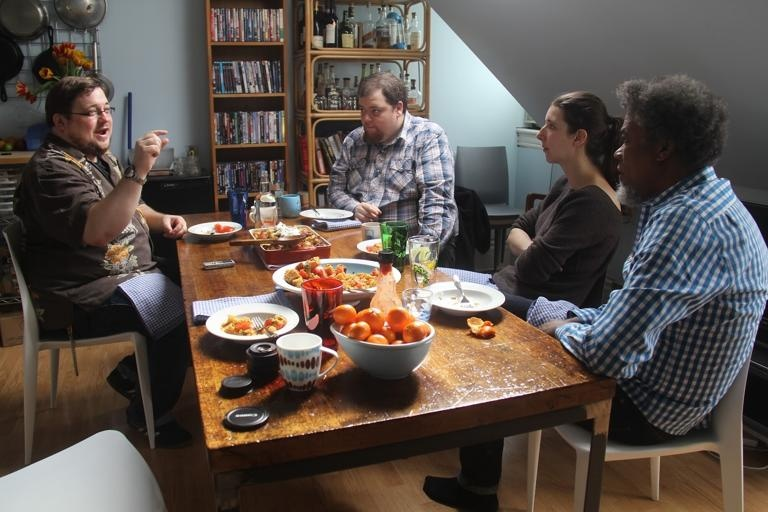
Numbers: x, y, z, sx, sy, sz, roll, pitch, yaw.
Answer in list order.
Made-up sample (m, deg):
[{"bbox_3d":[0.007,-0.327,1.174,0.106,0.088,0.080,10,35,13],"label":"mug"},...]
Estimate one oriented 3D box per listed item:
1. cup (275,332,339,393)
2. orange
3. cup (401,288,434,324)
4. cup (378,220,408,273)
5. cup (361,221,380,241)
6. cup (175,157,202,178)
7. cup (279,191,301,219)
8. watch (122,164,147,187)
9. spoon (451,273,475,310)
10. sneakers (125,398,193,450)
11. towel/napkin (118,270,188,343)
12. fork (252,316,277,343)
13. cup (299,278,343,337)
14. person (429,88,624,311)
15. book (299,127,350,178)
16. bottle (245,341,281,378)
[{"bbox_3d":[-0.236,0.296,1.629,0.191,0.139,0.151,-1,11,-2],"label":"cup"},{"bbox_3d":[-0.002,0.197,1.596,0.154,0.073,0.155,1,6,-10],"label":"orange"},{"bbox_3d":[0.108,0.153,1.789,0.092,0.103,0.105,-1,10,-7],"label":"cup"},{"bbox_3d":[0.045,-0.043,2.197,0.166,0.264,0.171,0,6,0],"label":"cup"},{"bbox_3d":[-0.057,-0.127,2.556,0.066,0.073,0.084,3,23,1],"label":"cup"},{"bbox_3d":[-1.598,-0.740,4.462,0.180,0.131,0.176,2,17,0],"label":"cup"},{"bbox_3d":[-0.511,-0.287,3.015,0.103,0.107,0.133,1,3,35],"label":"cup"},{"bbox_3d":[-1.124,-0.368,2.497,0.108,0.069,0.110,7,-10,27],"label":"watch"},{"bbox_3d":[0.292,0.115,2.052,0.030,0.018,0.132,-20,46,-4],"label":"spoon"},{"bbox_3d":[-1.102,0.823,2.733,0.431,0.183,0.145,11,23,40],"label":"sneakers"},{"bbox_3d":[-1.041,0.206,2.475,0.099,0.292,0.303,-40,5,37],"label":"towel/napkin"},{"bbox_3d":[-0.394,0.223,1.774,0.035,0.028,0.246,-13,16,-17],"label":"fork"},{"bbox_3d":[-0.192,0.156,1.702,0.120,0.186,0.119,-1,19,0],"label":"cup"},{"bbox_3d":[0.582,-0.364,2.905,1.085,1.206,0.748,3,12,7],"label":"person"},{"bbox_3d":[-0.502,-0.842,4.542,0.315,0.439,0.126,7,2,-7],"label":"book"},{"bbox_3d":[-0.354,0.299,1.600,0.087,0.085,0.088,-4,16,-19],"label":"bottle"}]
